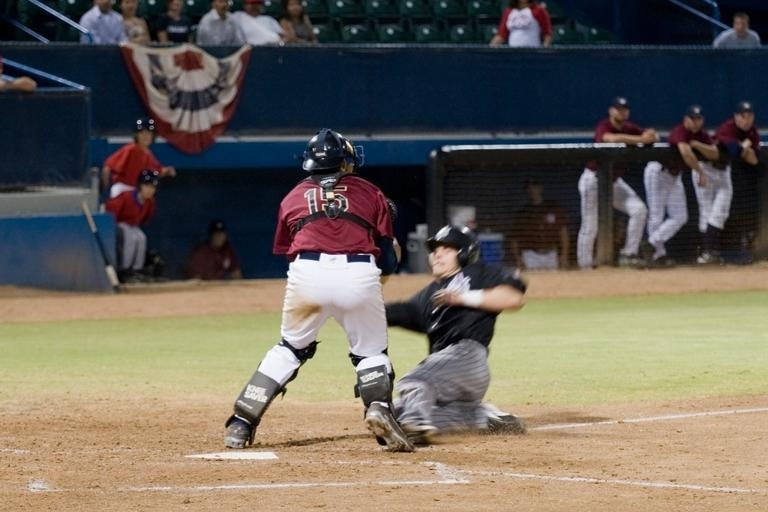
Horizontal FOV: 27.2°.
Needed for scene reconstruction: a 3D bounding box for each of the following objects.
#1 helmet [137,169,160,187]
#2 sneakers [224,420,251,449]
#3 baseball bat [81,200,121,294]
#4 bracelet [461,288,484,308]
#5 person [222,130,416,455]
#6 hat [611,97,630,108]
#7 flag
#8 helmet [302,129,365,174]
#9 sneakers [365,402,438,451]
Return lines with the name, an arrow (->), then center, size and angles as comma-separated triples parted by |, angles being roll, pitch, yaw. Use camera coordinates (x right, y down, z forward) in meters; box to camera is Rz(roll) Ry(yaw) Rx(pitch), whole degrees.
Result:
helmet -> -2.944, -0.974, 19.750 | 0.272, 0.222, 0.099 | 0, 2, -17
sneakers -> -1.317, 1.639, 14.365 | 0.231, 0.270, 0.157 | 12, -21, 2
baseball bat -> -3.423, -0.067, 19.058 | 0.149, 1.228, 0.109 | -27, 2, -15
bracelet -> 0.810, 0.391, 14.371 | 0.167, 0.137, 0.170 | -2, 3, -19
person -> -0.497, 0.321, 14.323 | 1.522, 2.940, 0.690 | 3, 2, -4
hat -> 2.931, -1.899, 19.578 | 0.258, 0.128, 0.240 | 2, 5, 8
flag -> -2.431, -2.046, 20.343 | 1.925, 1.387, 0.143 | -6, -1, -33
helmet -> -0.490, -0.960, 14.642 | 0.482, 0.354, 0.621 | 1, 3, 25
sneakers -> 0.173, 1.550, 14.239 | 0.465, 0.153, 0.202 | 38, 22, -1
